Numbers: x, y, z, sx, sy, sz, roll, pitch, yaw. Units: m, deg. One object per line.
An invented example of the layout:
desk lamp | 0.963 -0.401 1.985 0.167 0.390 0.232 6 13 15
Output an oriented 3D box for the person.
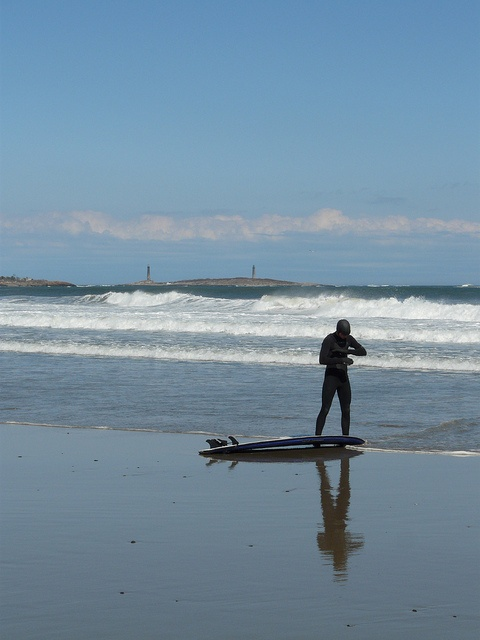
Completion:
person | 0.898 0.522 10.892 0.446 1.131 0.870 1 5 3
